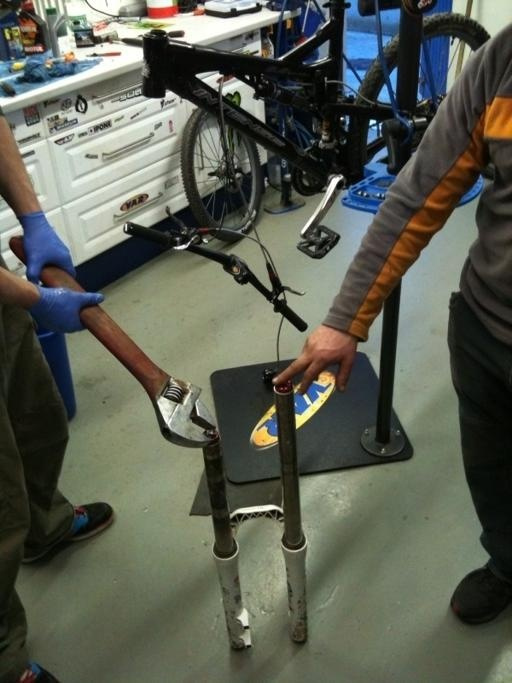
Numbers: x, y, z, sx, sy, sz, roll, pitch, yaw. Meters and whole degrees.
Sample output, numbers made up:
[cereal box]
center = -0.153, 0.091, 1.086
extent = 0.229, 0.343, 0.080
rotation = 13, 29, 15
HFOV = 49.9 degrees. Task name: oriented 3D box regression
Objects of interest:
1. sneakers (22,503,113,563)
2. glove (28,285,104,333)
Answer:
[sneakers]
center = -0.579, 0.577, 1.784
extent = 0.107, 0.127, 0.318
rotation = 35, 20, 17
[glove]
center = -0.388, -0.064, 1.098
extent = 0.109, 0.102, 0.062
rotation = 12, 49, -15
